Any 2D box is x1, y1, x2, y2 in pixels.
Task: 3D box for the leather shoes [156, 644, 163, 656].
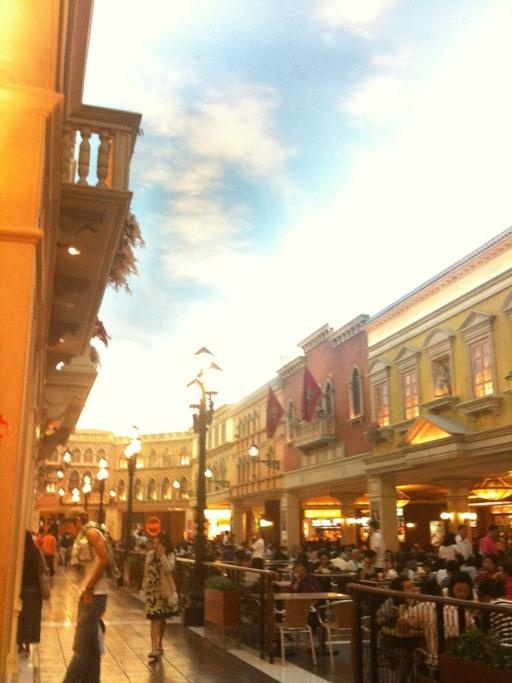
[{"bbox_3d":[-1.302,4.170,8.441,0.113,0.127,0.322,3,-31,-6],"label":"leather shoes"}]
